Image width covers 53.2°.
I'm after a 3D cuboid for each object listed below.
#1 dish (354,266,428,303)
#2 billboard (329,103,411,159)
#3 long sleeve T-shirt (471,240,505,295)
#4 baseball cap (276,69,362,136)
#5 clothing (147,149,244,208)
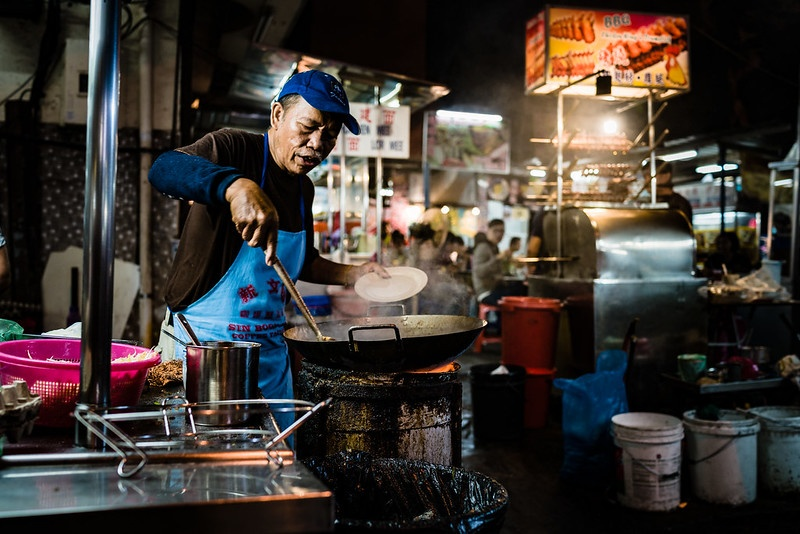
[{"bbox_3d":[-0.062,0.163,5.941,0.533,0.295,0.293,-2,15,3],"label":"dish"},{"bbox_3d":[-0.300,-1.735,10.221,0.935,0.669,0.039,-3,9,-26],"label":"billboard"},{"bbox_3d":[1.321,0.024,12.162,0.504,0.898,0.736,0,-4,10],"label":"long sleeve T-shirt"},{"bbox_3d":[-0.534,-1.189,5.533,0.631,0.325,0.459,17,-4,36],"label":"baseball cap"},{"bbox_3d":[-1.257,-0.546,4.964,0.546,0.317,0.219,18,10,20],"label":"clothing"}]
